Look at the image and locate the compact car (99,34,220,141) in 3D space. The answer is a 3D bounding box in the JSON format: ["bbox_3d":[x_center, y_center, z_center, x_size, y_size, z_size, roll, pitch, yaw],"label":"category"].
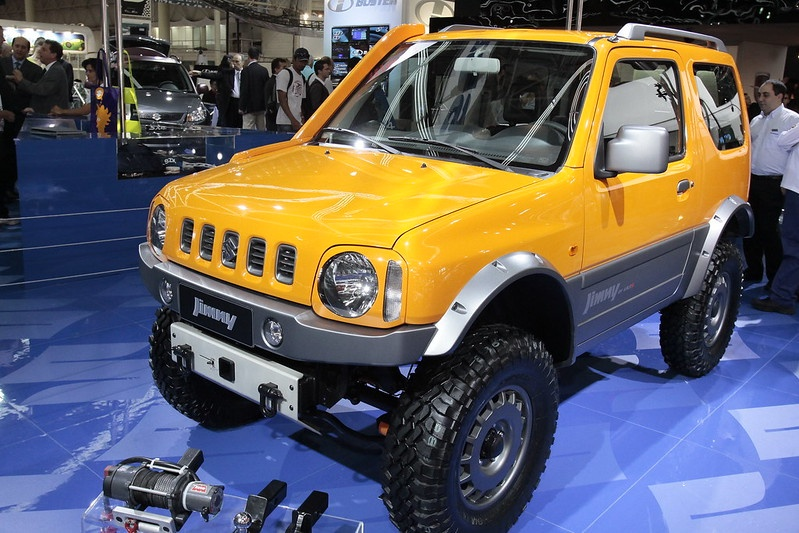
[{"bbox_3d":[-5.433,-4.111,12.084,1.863,2.138,3.758,-16,35,-29],"label":"compact car"}]

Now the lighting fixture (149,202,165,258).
[{"bbox_3d":[-1.407,-0.227,3.091,0.081,0.283,0.189,1,10,-34],"label":"lighting fixture"}]

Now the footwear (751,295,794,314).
[{"bbox_3d":[4.172,0.420,5.935,0.422,0.215,0.164,11,10,22],"label":"footwear"}]

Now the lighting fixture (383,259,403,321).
[{"bbox_3d":[-0.021,0.112,2.391,0.093,0.037,0.377,7,47,-4],"label":"lighting fixture"}]

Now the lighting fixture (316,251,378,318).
[{"bbox_3d":[-0.204,0.058,2.378,0.289,0.081,0.309,-1,40,3],"label":"lighting fixture"}]

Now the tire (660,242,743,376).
[{"bbox_3d":[2.388,0.328,4.239,0.270,0.976,0.834,12,26,44],"label":"tire"}]
